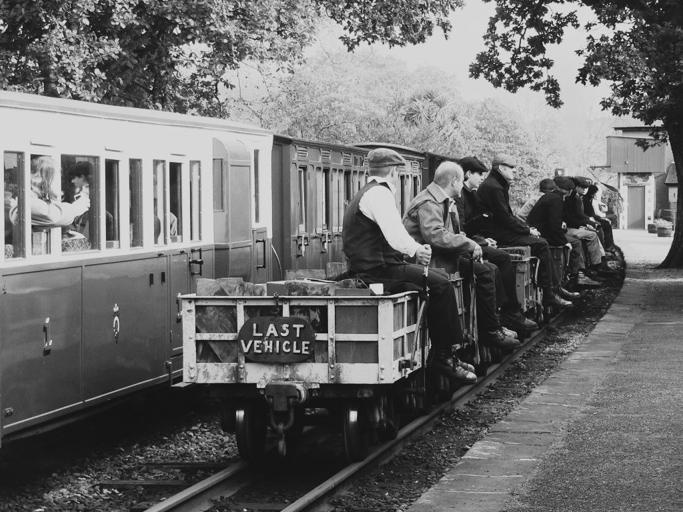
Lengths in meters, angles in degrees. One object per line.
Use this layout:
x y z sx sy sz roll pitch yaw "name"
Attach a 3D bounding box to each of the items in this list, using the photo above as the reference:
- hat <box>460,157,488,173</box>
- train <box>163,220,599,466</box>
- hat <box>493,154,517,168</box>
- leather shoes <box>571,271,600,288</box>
1.960 -1.341 12.025 0.231 0.163 0.331 12 9 38 "hat"
0.082 1.105 8.591 1.908 1.908 3.334 -1 2 43 "train"
2.580 -1.522 12.970 0.278 0.187 0.236 -5 10 2 "hat"
5.420 0.525 18.381 0.572 0.292 0.208 10 23 -25 "leather shoes"
